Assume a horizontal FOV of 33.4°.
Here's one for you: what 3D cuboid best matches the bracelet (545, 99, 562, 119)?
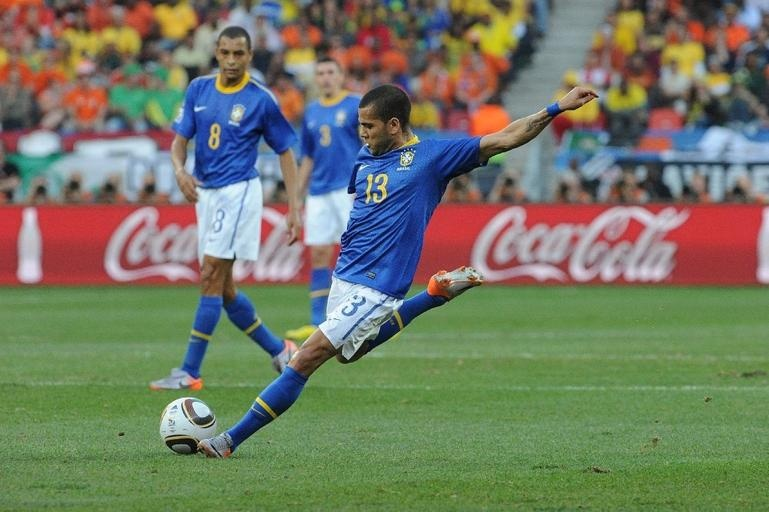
[{"bbox_3d":[1.369,-1.184,10.365,0.144,0.126,0.177,0,-7,6],"label":"bracelet"}]

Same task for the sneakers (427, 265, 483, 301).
[{"bbox_3d":[0.588,0.272,10.874,0.387,0.171,0.284,-20,23,-3],"label":"sneakers"}]

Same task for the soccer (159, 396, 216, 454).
[{"bbox_3d":[-1.667,1.446,10.798,0.538,0.463,0.506,-1,-3,-15],"label":"soccer"}]

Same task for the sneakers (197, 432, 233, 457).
[{"bbox_3d":[-1.367,1.561,10.521,0.331,0.161,0.128,17,-37,11],"label":"sneakers"}]

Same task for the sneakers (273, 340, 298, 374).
[{"bbox_3d":[-0.925,0.932,11.831,0.126,0.317,0.152,21,-7,36],"label":"sneakers"}]
